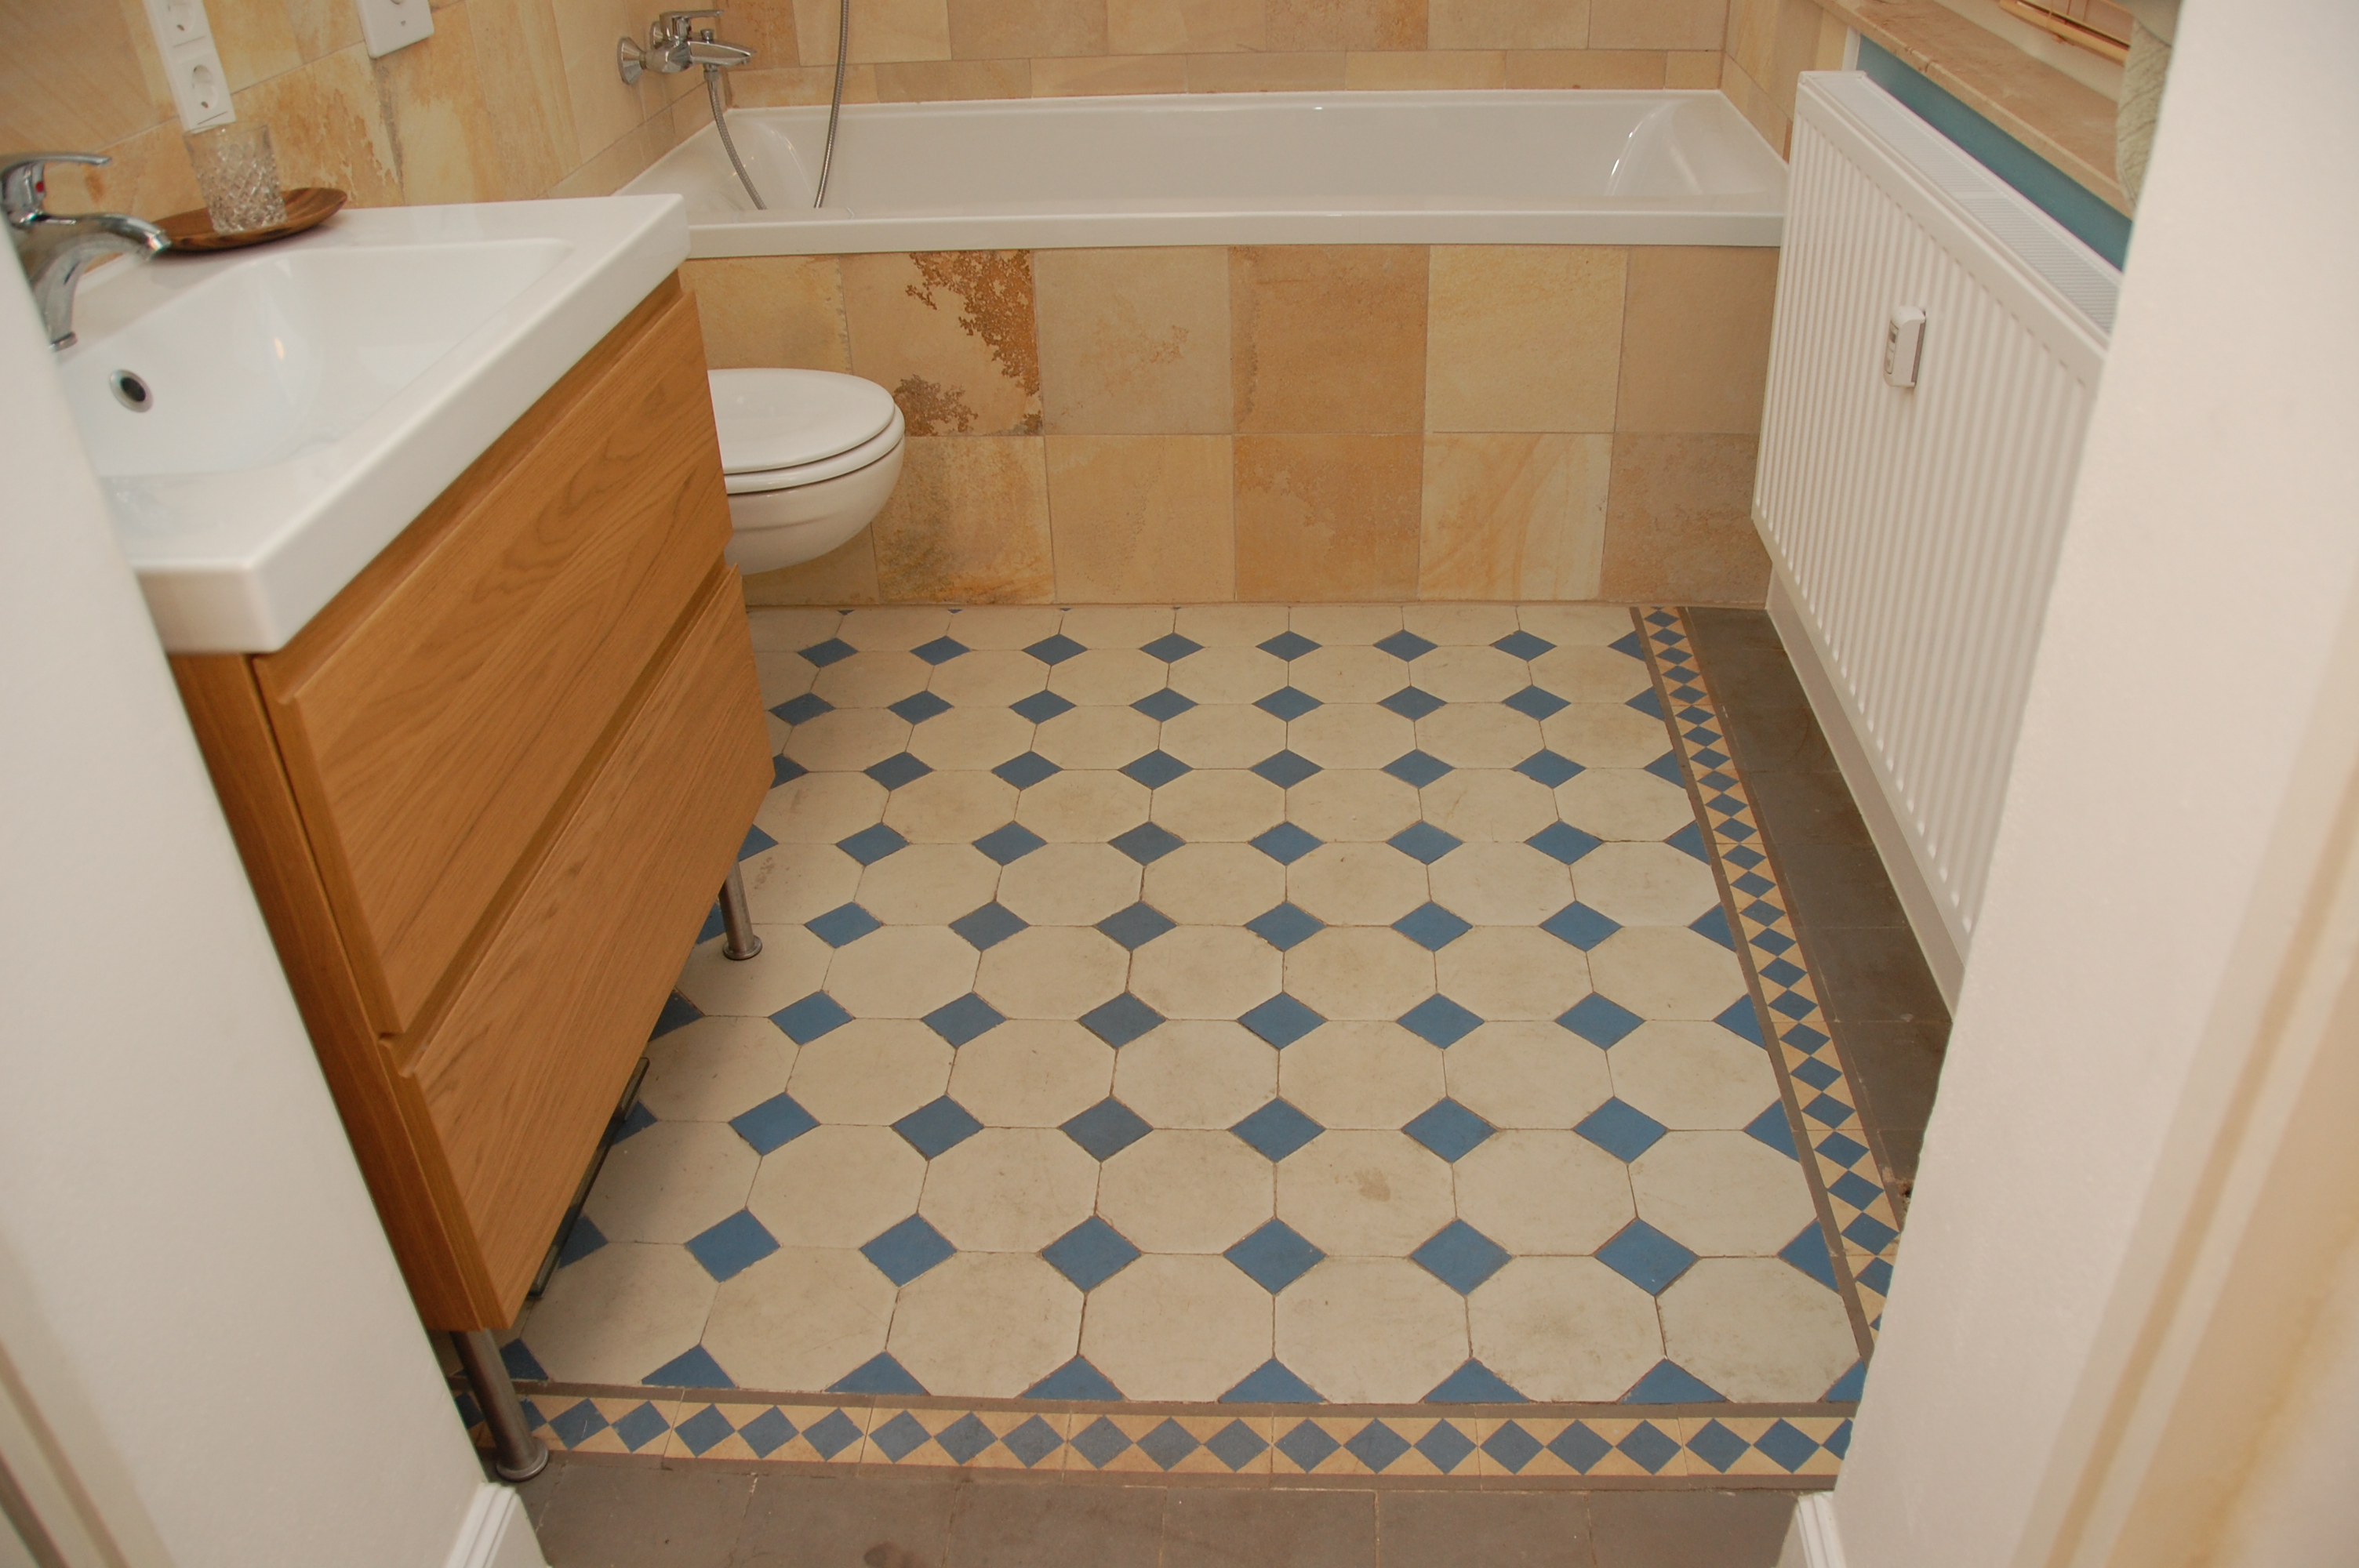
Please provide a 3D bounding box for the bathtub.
[{"bbox_3d":[0.063,-1.248,3.523,2.267,0.273,1.016,-1,34,6],"label":"bathtub"}]

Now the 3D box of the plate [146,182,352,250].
[{"bbox_3d":[-1.137,-0.680,2.035,0.201,0.034,0.201,-5,32,-13],"label":"plate"}]
